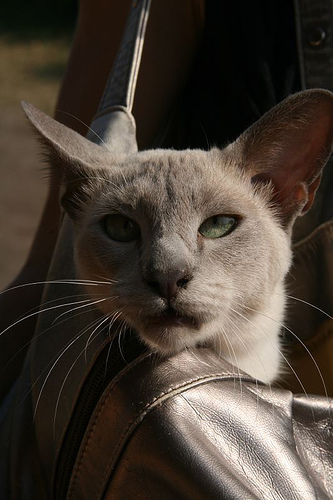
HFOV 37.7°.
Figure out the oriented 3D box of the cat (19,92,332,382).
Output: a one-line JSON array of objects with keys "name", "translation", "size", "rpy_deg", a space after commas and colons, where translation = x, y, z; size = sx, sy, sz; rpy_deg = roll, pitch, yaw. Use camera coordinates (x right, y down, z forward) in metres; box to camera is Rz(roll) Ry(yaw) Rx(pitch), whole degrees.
[{"name": "cat", "translation": [0.049, -0.011, 1.024], "size": [0.492, 0.616, 0.471], "rpy_deg": [-20, 29, -27]}]
